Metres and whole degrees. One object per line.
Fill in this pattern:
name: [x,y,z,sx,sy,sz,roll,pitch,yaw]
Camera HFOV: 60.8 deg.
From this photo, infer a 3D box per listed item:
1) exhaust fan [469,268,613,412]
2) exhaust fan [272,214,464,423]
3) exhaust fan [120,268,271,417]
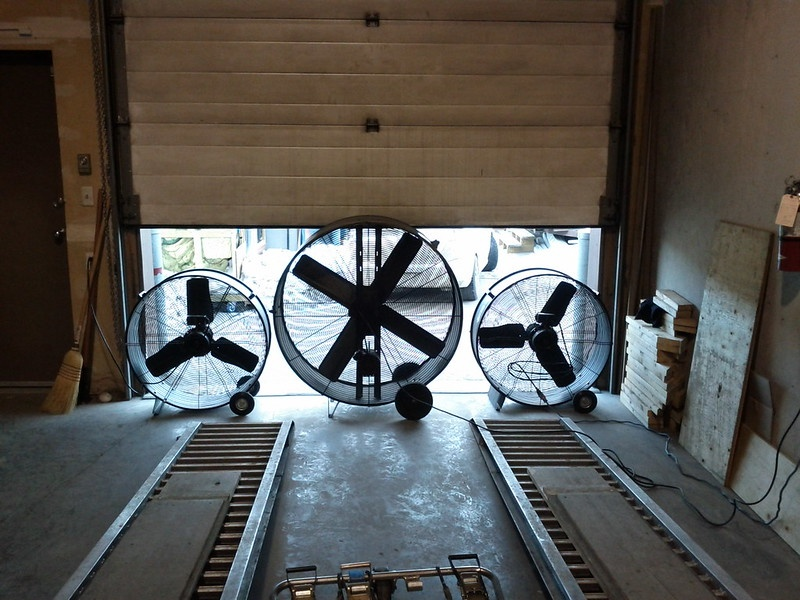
exhaust fan: [1.255,0.333,5.957,1.031,0.507,1.227,2,-77,21]
exhaust fan: [-0.274,0.179,5.845,1.449,0.710,1.825,-1,-79,0]
exhaust fan: [-1.801,0.388,5.888,0.981,0.488,1.199,3,-70,-3]
